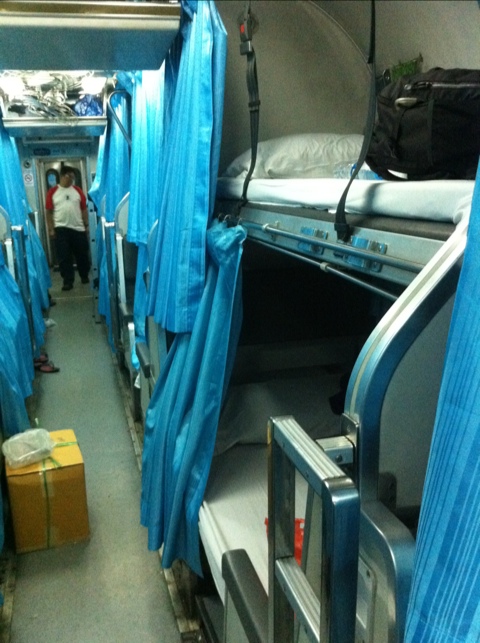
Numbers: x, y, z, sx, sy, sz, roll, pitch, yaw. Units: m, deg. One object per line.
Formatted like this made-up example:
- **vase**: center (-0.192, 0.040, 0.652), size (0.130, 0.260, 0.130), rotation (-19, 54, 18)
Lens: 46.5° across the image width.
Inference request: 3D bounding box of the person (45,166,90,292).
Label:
- **person**: center (-2.672, -1.404, 8.706), size (0.586, 1.958, 0.956), rotation (-4, 13, -19)

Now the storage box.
- **storage box**: center (-0.992, 0.893, 3.099), size (0.363, 0.669, 0.616), rotation (-7, 36, -9)

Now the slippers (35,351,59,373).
- **slippers**: center (-1.879, 0.393, 5.459), size (0.150, 0.087, 0.205), rotation (25, 23, 37)
